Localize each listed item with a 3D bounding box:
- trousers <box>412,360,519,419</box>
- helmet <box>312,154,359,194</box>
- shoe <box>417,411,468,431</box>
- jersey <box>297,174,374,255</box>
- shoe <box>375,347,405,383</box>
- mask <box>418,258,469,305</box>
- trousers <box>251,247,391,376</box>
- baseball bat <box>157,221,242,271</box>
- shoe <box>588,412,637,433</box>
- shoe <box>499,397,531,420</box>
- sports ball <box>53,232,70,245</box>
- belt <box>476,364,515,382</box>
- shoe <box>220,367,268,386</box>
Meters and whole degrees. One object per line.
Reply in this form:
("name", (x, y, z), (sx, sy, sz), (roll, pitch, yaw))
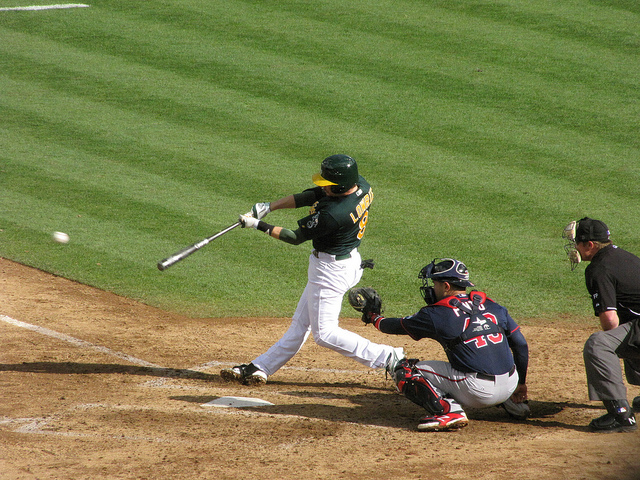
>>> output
("trousers", (1.809, 1.846, 16.670), (0.919, 0.470, 1.328), (13, 16, 36))
("helmet", (0.218, -0.847, 17.138), (0.552, 0.500, 0.262), (16, 4, -1))
("shoe", (1.540, 2.267, 16.551), (0.682, 0.211, 0.220), (0, -9, -9))
("jersey", (0.226, -0.250, 17.320), (1.050, 0.864, 0.963), (-4, 32, 28))
("shoe", (0.948, 1.605, 17.086), (0.506, 0.193, 0.383), (25, -18, 29))
("mask", (1.492, 0.485, 16.956), (0.811, 0.538, 0.677), (0, 16, 2))
("trousers", (0.123, 1.003, 17.308), (1.542, 1.710, 0.377), (18, 3, 9))
("baseball bat", (-1.830, 0.112, 19.890), (1.688, 0.149, 0.162), (-23, 27, -23))
("shoe", (3.625, 2.259, 16.524), (0.615, 0.208, 0.230), (2, 1, 4))
("shoe", (2.475, 2.154, 16.870), (0.352, 0.134, 0.261), (30, 4, 1))
("sports ball", (-3.957, -0.024, 20.399), (0.268, 0.163, 0.088), (16, 2, 28))
("belt", (2.192, 1.665, 16.620), (0.469, 0.224, 0.095), (13, 6, -22))
("shoe", (-0.999, 1.800, 17.495), (0.653, 0.212, 0.263), (14, 37, -1))
